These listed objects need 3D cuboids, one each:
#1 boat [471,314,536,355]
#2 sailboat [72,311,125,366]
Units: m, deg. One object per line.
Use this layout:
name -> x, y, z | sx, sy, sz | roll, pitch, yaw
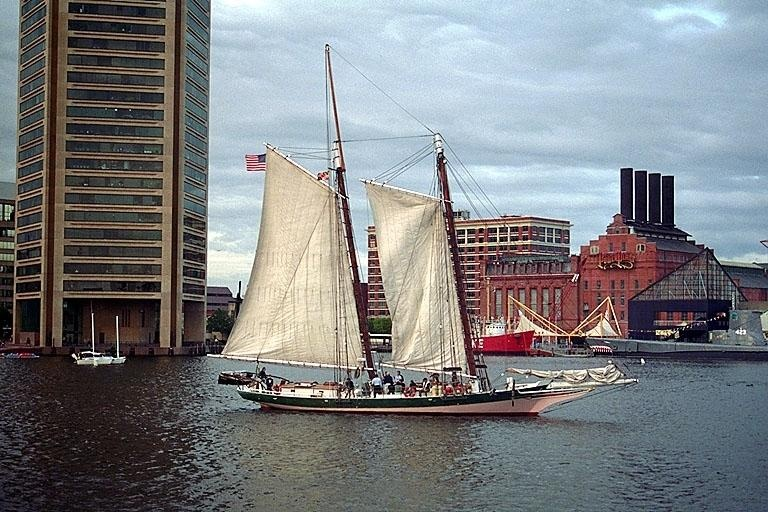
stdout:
boat -> 30.137, 20.690, 251.938 | 21.906, 7.028, 6.788 | 3, 0, 41
sailboat -> -59.616, 17.044, 202.374 | 10.101, 12.651, 45.099 | 3, -8, -16
